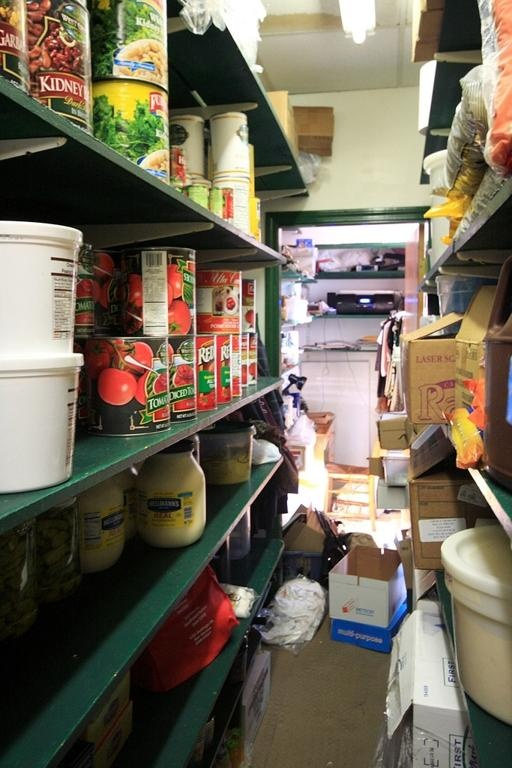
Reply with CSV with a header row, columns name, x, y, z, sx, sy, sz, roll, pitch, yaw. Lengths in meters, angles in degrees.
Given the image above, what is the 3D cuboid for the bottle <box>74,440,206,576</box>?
name,x,y,z,sx,sy,sz,roll,pitch,yaw
bottle,-0.231,0.266,1.213,0.288,0.281,0.156,-2,3,-7

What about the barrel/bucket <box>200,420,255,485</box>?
name,x,y,z,sx,sy,sz,roll,pitch,yaw
barrel/bucket,-0.079,0.221,1.932,0.192,0.173,0.195,0,9,0

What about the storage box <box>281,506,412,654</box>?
name,x,y,z,sx,sy,sz,roll,pitch,yaw
storage box,0.461,0.998,2.913,0.507,0.315,0.509,6,7,27
